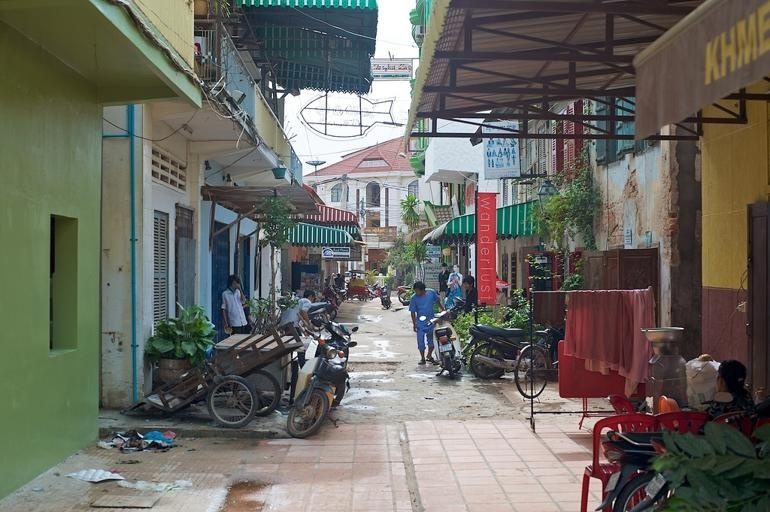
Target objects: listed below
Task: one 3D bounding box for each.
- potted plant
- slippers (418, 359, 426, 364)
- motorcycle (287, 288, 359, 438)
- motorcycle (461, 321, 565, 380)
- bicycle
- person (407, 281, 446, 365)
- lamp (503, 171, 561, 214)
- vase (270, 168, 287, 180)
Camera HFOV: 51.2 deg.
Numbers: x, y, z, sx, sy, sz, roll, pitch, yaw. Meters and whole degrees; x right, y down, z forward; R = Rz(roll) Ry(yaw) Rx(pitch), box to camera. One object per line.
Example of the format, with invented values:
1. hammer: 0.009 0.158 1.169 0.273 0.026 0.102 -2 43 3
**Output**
1. potted plant: -3.100 1.321 12.568 1.279 1.112 1.562 0 -1 -1
2. slippers: 0.776 2.250 17.202 0.102 0.141 0.310 -1 -6 7
3. motorcycle: -1.004 1.869 12.240 1.622 1.128 0.740 0 -1 0
4. motorcycle: 2.371 1.801 15.179 1.642 1.069 0.873 0 1 0
5. bicycle: 2.683 1.870 14.105 1.419 0.892 0.706 -3 0 -31
6. person: 0.839 1.323 16.527 0.657 1.767 0.520 -7 6 -15
7. lamp: 4.013 -1.933 22.771 2.457 1.443 0.831 3 21 7
8. vase: -2.486 -1.945 18.672 0.269 0.199 0.254 0 -6 -5
